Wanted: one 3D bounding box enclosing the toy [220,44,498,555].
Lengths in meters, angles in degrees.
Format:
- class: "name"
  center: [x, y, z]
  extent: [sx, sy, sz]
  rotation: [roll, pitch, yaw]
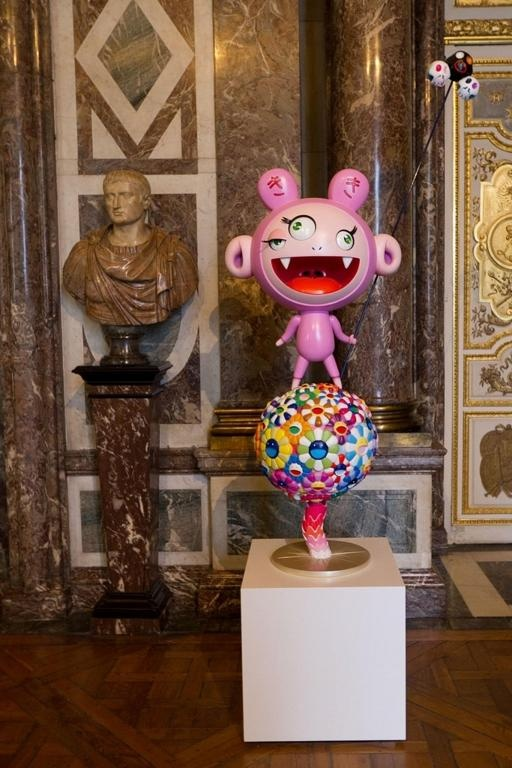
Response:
- class: "toy"
  center: [0.281, -0.260, 2.733]
  extent: [0.627, 1.421, 0.500]
  rotation: [-8, 11, -33]
